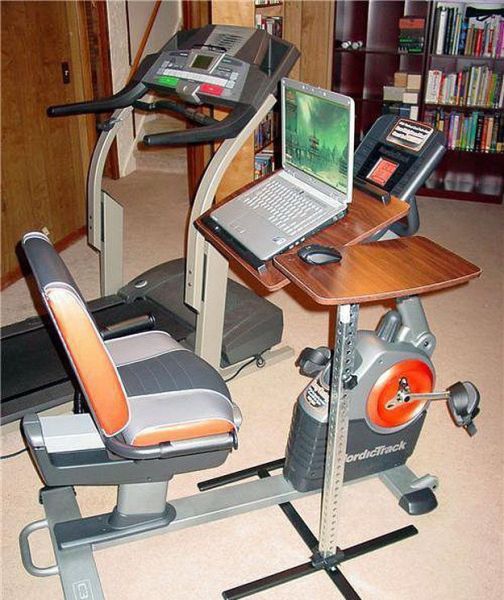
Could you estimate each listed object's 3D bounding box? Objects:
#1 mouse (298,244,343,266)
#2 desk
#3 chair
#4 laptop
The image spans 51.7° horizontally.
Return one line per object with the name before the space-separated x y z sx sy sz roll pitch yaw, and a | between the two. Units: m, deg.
mouse | 0.159 -0.102 1.234 0.074 0.016 0.057 5 43 8
desk | 0.214 0.222 1.651 0.692 1.058 0.822 -3 28 -9
chair | -0.306 0.231 1.519 0.693 0.954 0.615 -13 30 -27
laptop | 0.050 -0.413 1.575 0.369 0.374 0.433 -19 36 -12
